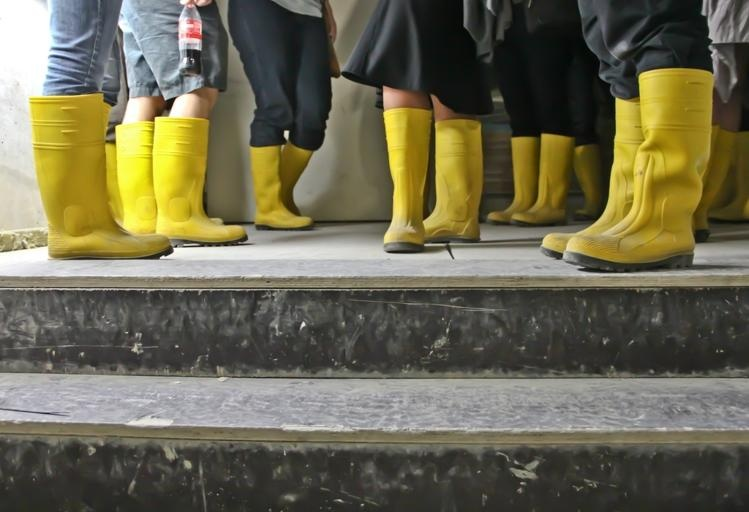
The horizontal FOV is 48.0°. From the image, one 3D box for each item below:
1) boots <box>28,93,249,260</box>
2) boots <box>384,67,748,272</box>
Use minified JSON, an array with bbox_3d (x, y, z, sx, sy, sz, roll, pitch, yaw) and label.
[{"bbox_3d":[-0.730,-0.380,2.720,0.515,0.539,0.725,3,8,7],"label":"boots"},{"bbox_3d":[0.646,-0.244,2.433,0.553,0.656,0.499,-2,4,-5],"label":"boots"}]
